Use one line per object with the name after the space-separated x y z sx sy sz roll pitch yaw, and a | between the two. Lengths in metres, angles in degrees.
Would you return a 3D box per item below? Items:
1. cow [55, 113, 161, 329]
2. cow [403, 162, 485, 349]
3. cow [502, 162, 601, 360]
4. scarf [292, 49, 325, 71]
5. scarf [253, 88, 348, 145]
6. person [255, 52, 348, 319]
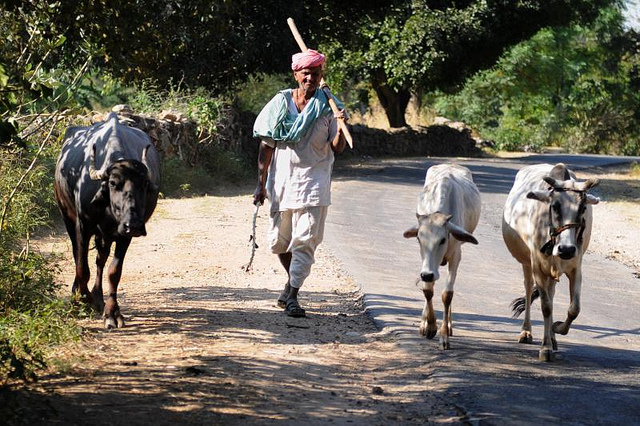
-3.057 0.073 11.871 1.526 2.708 4.813 3 5 -23 | cow
1.681 0.525 11.199 0.907 2.031 2.353 5 13 11 | cow
3.159 0.771 11.223 1.405 2.634 3.216 1 0 3 | cow
-0.176 -2.025 10.894 0.300 0.184 0.330 2 8 -1 | scarf
-0.386 -1.348 11.164 0.975 0.721 0.452 11 15 31 | scarf
-0.297 -0.388 11.210 1.278 3.553 0.801 6 13 16 | person
